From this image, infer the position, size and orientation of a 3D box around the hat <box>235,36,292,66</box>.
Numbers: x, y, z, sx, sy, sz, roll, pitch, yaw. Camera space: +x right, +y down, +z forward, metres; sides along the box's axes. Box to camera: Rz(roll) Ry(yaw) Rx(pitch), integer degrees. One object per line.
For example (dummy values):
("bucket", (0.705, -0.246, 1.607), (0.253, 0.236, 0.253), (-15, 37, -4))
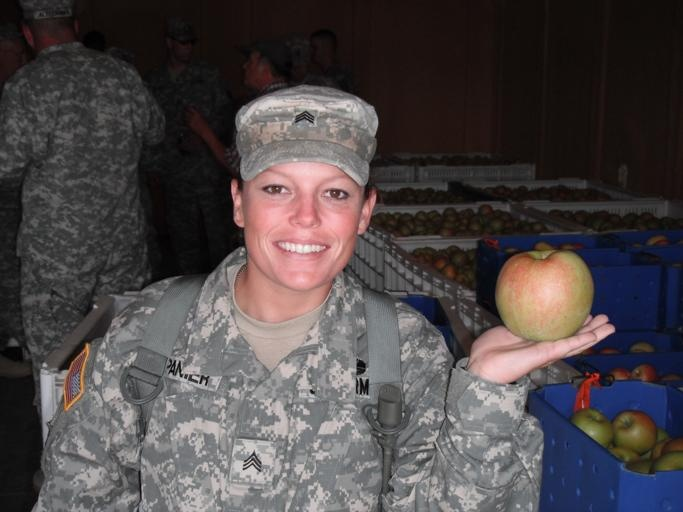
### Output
("hat", (-0.654, -1.806, 5.099), (0.388, 0.193, 0.265), (10, 25, -9))

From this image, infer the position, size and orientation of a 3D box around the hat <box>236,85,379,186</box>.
("hat", (-0.082, -0.328, 1.537), (0.280, 0.166, 0.317), (1, 10, -3))
